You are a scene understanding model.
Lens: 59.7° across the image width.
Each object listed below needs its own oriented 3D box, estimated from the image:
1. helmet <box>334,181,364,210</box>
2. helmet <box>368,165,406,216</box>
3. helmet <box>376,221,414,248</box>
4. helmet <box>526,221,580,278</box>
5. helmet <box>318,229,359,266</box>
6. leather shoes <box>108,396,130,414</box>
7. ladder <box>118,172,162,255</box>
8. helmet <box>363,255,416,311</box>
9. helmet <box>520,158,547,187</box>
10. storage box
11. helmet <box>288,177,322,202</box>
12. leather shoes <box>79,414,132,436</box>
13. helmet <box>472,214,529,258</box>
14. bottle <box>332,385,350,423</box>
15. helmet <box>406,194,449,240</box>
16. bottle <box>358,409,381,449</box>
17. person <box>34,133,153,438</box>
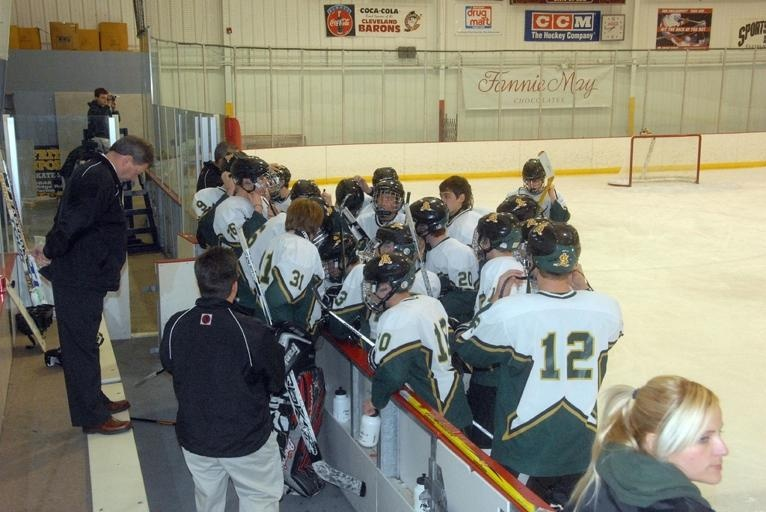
[{"bbox_3d":[-0.331,-0.579,6.347,0.217,0.284,0.284,-3,53,-10],"label":"helmet"},{"bbox_3d":[0.038,-0.711,6.675,0.324,0.397,0.428,-5,8,3],"label":"helmet"},{"bbox_3d":[0.086,-0.163,4.814,0.209,0.164,0.155,13,6,13],"label":"helmet"},{"bbox_3d":[1.045,-0.104,3.959,0.263,0.296,0.328,0,14,8],"label":"helmet"},{"bbox_3d":[-0.357,-0.077,5.332,0.293,0.225,0.275,17,55,26],"label":"helmet"},{"bbox_3d":[-2.149,1.208,5.438,0.215,0.086,0.078,-6,18,0],"label":"leather shoes"},{"bbox_3d":[-3.488,-0.611,9.613,0.421,1.116,1.177,-5,26,-16],"label":"ladder"},{"bbox_3d":[0.052,0.134,4.183,0.377,0.359,0.304,-6,13,1],"label":"helmet"},{"bbox_3d":[1.565,-0.912,6.927,0.221,0.272,0.278,-3,54,33],"label":"helmet"},{"bbox_3d":[-6.790,-4.745,14.441,2.295,0.656,0.853,-3,13,-13],"label":"storage box"},{"bbox_3d":[-0.721,-0.592,6.185,0.302,0.303,0.260,-3,29,0],"label":"helmet"},{"bbox_3d":[-2.129,1.300,5.166,0.373,0.161,0.146,-3,11,-5],"label":"leather shoes"},{"bbox_3d":[0.818,-0.144,4.746,0.389,0.356,0.310,-2,4,34],"label":"helmet"},{"bbox_3d":[-0.291,1.012,4.639,0.131,0.228,0.132,-1,10,0],"label":"bottle"},{"bbox_3d":[0.383,-0.326,5.231,0.324,0.289,0.258,-19,42,16],"label":"helmet"},{"bbox_3d":[-0.100,1.085,4.210,0.129,0.215,0.135,8,1,0],"label":"bottle"},{"bbox_3d":[-2.096,0.200,4.961,0.710,2.138,0.320,-7,15,-28],"label":"person"}]
